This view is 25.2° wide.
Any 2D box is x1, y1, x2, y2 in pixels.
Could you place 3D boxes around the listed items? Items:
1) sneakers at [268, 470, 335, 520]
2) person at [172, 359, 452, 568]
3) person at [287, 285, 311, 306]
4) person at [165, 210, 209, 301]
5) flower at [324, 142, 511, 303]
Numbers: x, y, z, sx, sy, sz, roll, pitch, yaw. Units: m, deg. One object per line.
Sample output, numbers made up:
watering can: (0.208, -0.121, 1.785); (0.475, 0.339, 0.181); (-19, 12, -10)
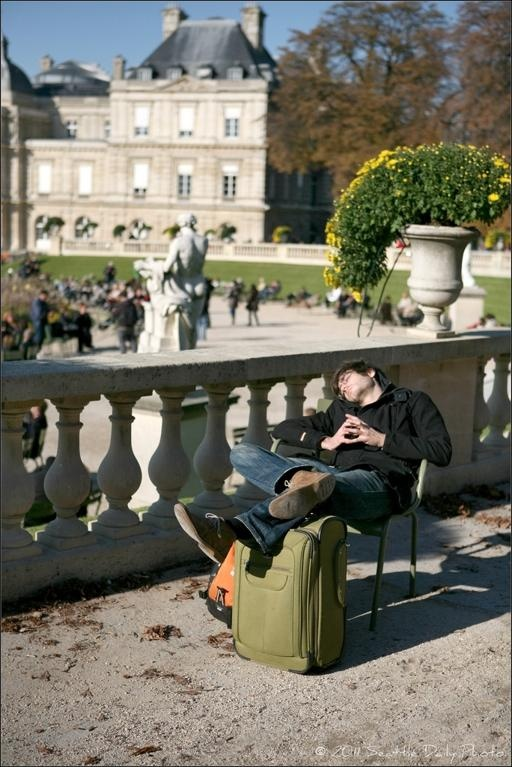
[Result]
sneakers: (0.129, 0.331, 3.434); (0.112, 0.087, 0.260); (-12, 8, 31)
person: (0.193, 0.258, 3.827); (1.024, 0.542, 0.558); (-14, 4, -44)
person: (1.022, -2.101, 27.186); (0.734, 0.383, 1.018); (1, 2, 0)
person: (-0.794, -1.331, 12.852); (0.472, 0.865, 0.554); (3, 11, -5)
flower: (0.851, -0.857, 5.800); (0.791, 0.506, 0.791); (25, 52, 30)
